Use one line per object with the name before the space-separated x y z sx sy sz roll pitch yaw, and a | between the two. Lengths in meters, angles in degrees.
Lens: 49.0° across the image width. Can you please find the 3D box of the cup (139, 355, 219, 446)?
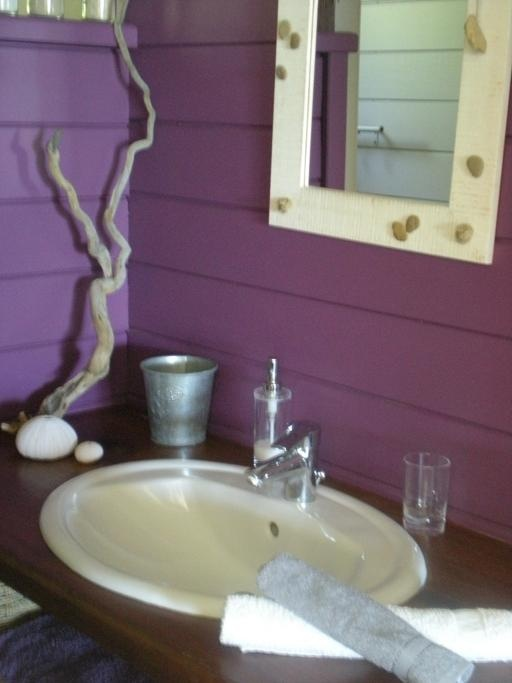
cup | -0.157 0.119 1.193 0.158 0.185 0.163 3 13 -1

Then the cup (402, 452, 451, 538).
cup | 0.256 0.217 0.846 0.068 0.118 0.114 4 10 16

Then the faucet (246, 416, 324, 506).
faucet | 0.066 0.180 0.947 0.066 0.164 0.199 8 13 36

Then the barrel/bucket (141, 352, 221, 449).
barrel/bucket | -0.157 0.118 1.193 0.159 0.185 0.164 3 13 -1
